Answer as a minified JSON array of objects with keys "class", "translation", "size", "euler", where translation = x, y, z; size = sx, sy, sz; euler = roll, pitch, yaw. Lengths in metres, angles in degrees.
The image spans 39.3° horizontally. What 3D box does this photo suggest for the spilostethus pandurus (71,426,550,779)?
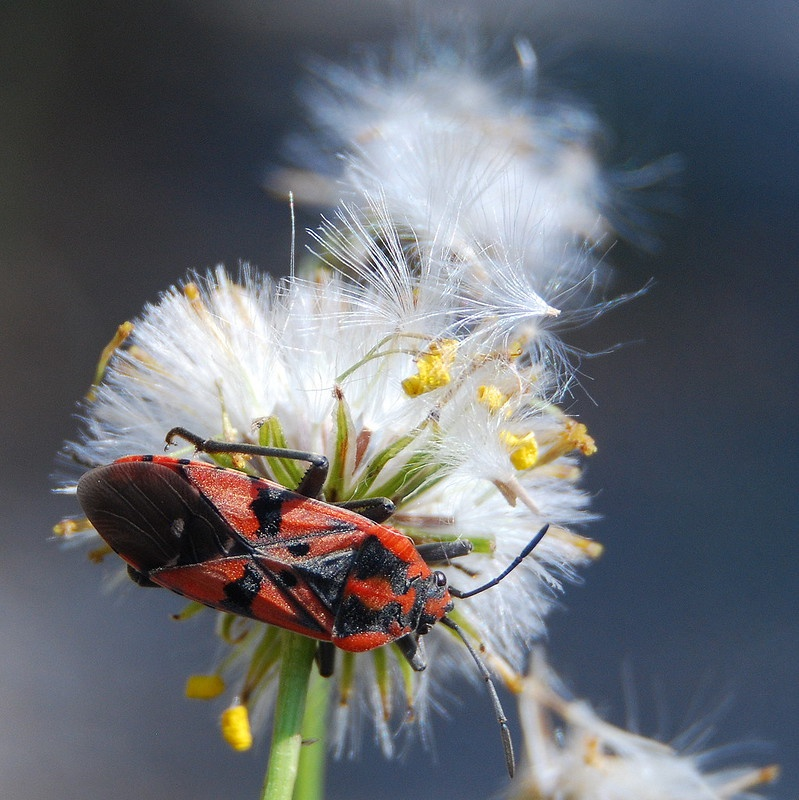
[{"class":"spilostethus pandurus","translation":[-0.190,0.307,2.428],"size":[0.770,0.507,1.395],"euler":[-8,-15,39]}]
